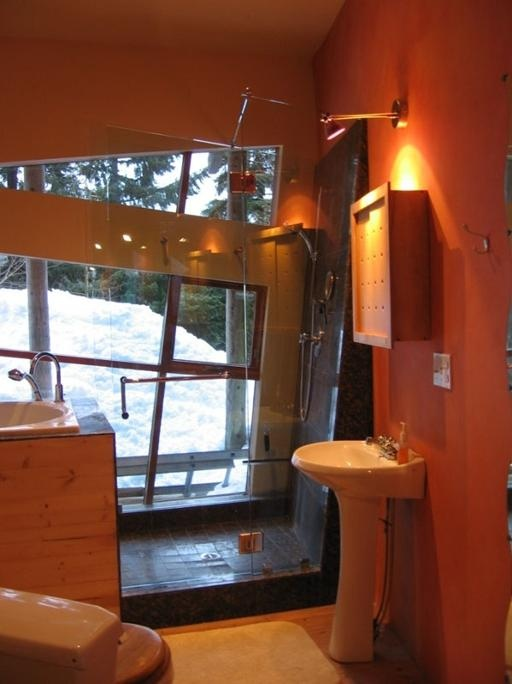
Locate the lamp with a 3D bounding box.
[{"bbox_3d":[0.433,-0.884,2.311,0.383,0.151,0.164,-9,17,-17],"label":"lamp"}]
